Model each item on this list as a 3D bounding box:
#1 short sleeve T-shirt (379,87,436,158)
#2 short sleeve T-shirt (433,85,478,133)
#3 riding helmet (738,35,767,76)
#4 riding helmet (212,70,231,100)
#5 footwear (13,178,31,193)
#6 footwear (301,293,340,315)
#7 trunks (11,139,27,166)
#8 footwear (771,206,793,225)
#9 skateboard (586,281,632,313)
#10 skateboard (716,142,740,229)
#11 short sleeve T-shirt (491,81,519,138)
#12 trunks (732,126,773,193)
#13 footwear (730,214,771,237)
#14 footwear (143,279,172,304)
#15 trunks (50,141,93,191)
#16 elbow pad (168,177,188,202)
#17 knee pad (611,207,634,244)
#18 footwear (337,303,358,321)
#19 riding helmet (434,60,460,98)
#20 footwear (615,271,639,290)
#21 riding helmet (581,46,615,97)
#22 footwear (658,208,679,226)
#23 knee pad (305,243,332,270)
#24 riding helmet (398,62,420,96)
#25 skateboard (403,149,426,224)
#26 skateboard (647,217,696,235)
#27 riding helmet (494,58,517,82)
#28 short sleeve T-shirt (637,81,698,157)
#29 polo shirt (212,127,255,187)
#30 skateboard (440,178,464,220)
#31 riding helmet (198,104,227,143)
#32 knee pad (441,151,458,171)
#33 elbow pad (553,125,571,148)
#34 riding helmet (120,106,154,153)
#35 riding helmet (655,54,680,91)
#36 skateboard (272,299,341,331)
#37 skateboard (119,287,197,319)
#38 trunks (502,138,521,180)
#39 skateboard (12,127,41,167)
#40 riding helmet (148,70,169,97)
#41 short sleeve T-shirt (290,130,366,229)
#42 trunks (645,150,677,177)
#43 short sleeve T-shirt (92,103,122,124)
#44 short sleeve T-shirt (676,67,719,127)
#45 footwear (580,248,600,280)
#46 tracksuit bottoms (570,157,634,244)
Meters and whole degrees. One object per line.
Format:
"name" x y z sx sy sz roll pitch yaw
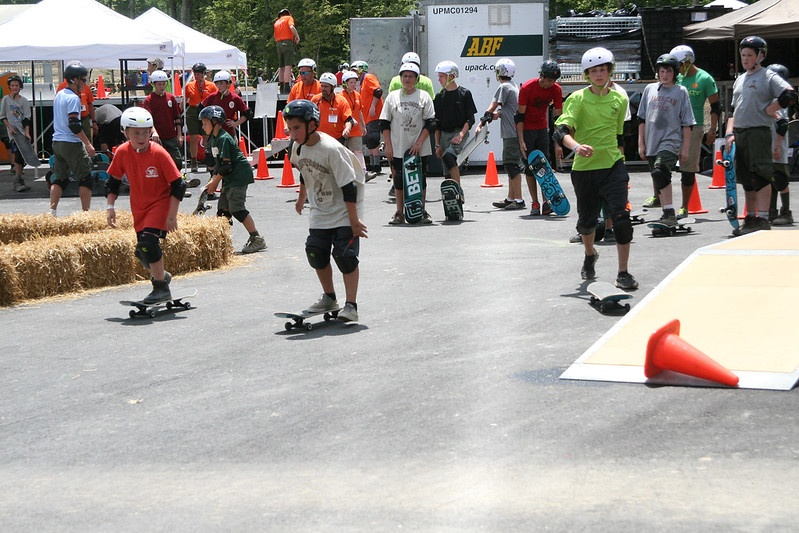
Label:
"short sleeve T-shirt" 0.136 -2.299 12.337 0.968 1.004 0.557 3 20 13
"short sleeve T-shirt" 0.914 -2.591 12.853 0.857 0.676 0.312 0 7 28
"riding helmet" 4.625 -2.773 10.133 0.276 0.449 0.373 4 16 25
"riding helmet" -3.753 -3.913 16.360 0.444 0.515 0.540 1 5 6
"footwear" -8.529 -1.813 17.506 0.205 0.220 0.535 -3 1 -34
"footwear" -0.700 0.347 7.155 0.388 0.145 0.140 3 -2 -42
"trunks" -8.879 -2.699 18.076 0.155 0.995 0.279 -45 -35 24
"footwear" 5.486 -0.698 11.061 0.160 0.189 0.474 -1 0 42
"skateboard" 1.943 0.299 7.187 0.375 0.200 0.424 1 15 13
"skateboard" 4.493 -1.093 10.499 0.229 1.319 0.380 -4 2 18
"short sleeve T-shirt" 1.774 -2.607 12.881 0.377 0.924 0.740 -1 15 8
"trunks" 4.764 -1.480 10.402 0.393 0.831 0.671 -10 14 4
"footwear" 4.634 -0.533 10.212 0.434 0.242 0.468 3 15 20
"footwear" -2.397 0.241 7.637 0.268 0.200 0.222 -7 15 -16
"trunks" -5.271 -1.656 12.536 0.814 0.747 0.514 8 18 35
"elbow pad" -2.252 -0.782 7.827 0.145 0.267 0.245 -7 16 -16
"knee pad" 2.200 -0.382 7.646 0.131 0.434 0.097 -6 -10 21
"footwear" -0.472 0.426 7.046 0.167 0.161 0.176 -3 15 -2
"riding helmet" 0.796 -3.139 12.794 0.307 0.462 0.521 -1 15 6
"footwear" 2.255 0.144 7.754 0.151 0.118 0.308 -3 2 -17
"riding helmet" 2.021 -1.991 7.897 0.289 0.466 0.469 1 15 14
"footwear" 3.719 -0.700 10.687 0.319 0.248 0.248 -5 15 -9
"knee pad" -0.775 -0.087 7.167 0.210 0.195 0.243 0 3 10
"riding helmet" 0.152 -2.934 12.101 0.275 0.477 0.351 -3 15 1
"skateboard" 0.227 -1.275 12.200 0.382 1.256 0.210 -15 -18 33
"skateboard" 3.941 -0.556 11.028 0.317 0.184 1.142 3 7 33
"riding helmet" 1.770 -3.297 12.944 0.280 0.312 0.314 1 15 15
"short sleeve T-shirt" 3.649 -1.997 10.646 0.357 0.976 0.617 -14 18 -34
"polo shirt" -2.219 -1.437 10.222 0.480 0.749 0.337 -6 16 -11
"skateboard" 0.908 -1.045 12.457 0.277 0.721 0.400 -3 15 9
"riding helmet" -2.445 -1.946 10.408 0.530 0.566 0.432 -1 8 -19
"knee pad" 0.817 -1.713 12.577 0.238 0.328 0.172 -2 15 2
"elbow pad" 1.644 -1.340 7.853 0.156 0.174 0.356 0 15 12
"riding helmet" -2.635 -1.383 7.792 0.280 0.423 0.300 -6 15 -10
"riding helmet" 3.650 -2.660 10.562 0.255 0.454 0.469 2 15 17
"skateboard" -0.816 0.438 7.050 0.225 0.145 0.793 6 6 28
"skateboard" -2.363 0.362 7.688 0.281 0.152 0.829 10 11 35
"trunks" 1.884 -1.807 12.948 0.302 0.702 0.411 -1 15 8
"skateboard" -8.839 -2.828 18.244 0.148 0.989 0.319 -42 -25 29
"riding helmet" -4.919 -3.722 15.673 0.478 0.556 0.605 -8 19 -27
"short sleeve T-shirt" -0.665 -0.779 7.194 0.569 0.815 0.920 -16 20 -38
"trunks" 3.661 -1.437 10.782 0.324 0.354 0.520 -2 0 -23
"short sleeve T-shirt" -7.220 -3.840 19.155 0.708 0.463 0.970 -7 12 -15
"short sleeve T-shirt" 4.535 -2.579 11.816 0.411 0.825 1.028 -9 13 -20
"footwear" 1.990 -0.034 8.238 0.136 0.338 0.163 10 -3 32
"tracksuit bottoms" 2.112 -0.666 7.835 0.401 0.770 0.672 -14 19 -36
